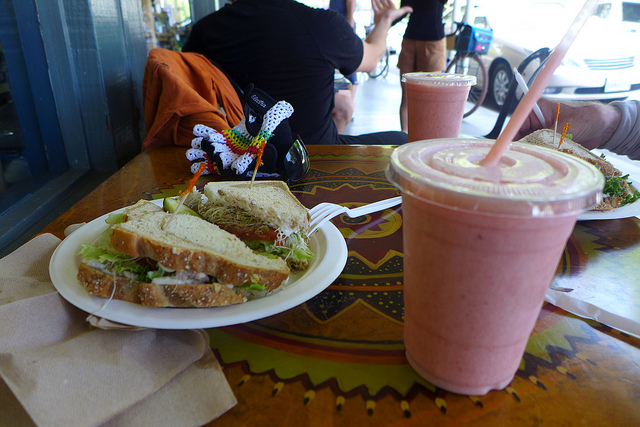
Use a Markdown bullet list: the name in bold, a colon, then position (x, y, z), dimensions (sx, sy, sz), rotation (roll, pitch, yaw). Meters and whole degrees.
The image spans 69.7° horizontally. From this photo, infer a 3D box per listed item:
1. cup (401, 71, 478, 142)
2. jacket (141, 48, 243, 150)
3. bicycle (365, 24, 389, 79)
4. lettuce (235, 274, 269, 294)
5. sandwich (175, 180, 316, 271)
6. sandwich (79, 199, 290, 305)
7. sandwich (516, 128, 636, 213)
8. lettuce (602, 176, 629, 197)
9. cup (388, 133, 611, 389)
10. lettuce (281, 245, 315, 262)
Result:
- **cup**: position (0.475, -0.428, 1.862), dimensions (0.300, 0.280, 0.303), rotation (0, 21, 0)
- **jacket**: position (-0.598, -0.557, 2.362), dimensions (0.508, 0.250, 0.622), rotation (8, 47, -20)
- **bicycle**: position (1.569, -3.880, 11.211), dimensions (0.589, 0.840, 1.318), rotation (-10, 29, 15)
- **lettuce**: position (-0.174, 0.185, 1.176), dimensions (0.057, 0.023, 0.056), rotation (4, 8, 8)
- **sandwich**: position (-0.216, 0.015, 1.347), dimensions (0.321, 0.107, 0.318), rotation (-3, 33, -8)
- **sandwich**: position (-0.368, 0.126, 1.171), dimensions (0.323, 0.079, 0.329), rotation (9, 13, -6)
- **sandwich**: position (0.895, -0.171, 1.671), dimensions (0.387, 0.058, 0.423), rotation (-25, 48, -40)
- **lettuce**: position (0.957, -0.089, 1.491), dimensions (0.070, 0.031, 0.069), rotation (-7, 34, -6)
- **cup**: position (0.355, 0.097, 1.051), dimensions (0.360, 0.482, 0.359), rotation (1, 31, -1)
- **lettuce**: position (-0.060, 0.116, 1.290), dimensions (0.061, 0.020, 0.046), rotation (23, 30, 31)
